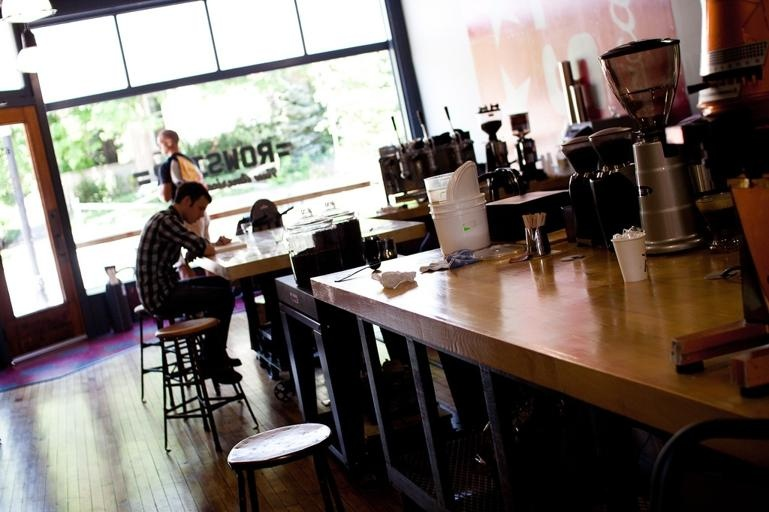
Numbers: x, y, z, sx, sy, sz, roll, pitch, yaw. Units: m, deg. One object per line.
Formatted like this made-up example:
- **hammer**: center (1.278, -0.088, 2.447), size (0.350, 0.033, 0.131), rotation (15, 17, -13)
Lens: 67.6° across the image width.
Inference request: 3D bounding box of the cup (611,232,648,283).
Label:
- **cup**: center (0.691, 0.001, 1.618), size (0.093, 0.133, 0.103), rotation (-12, 5, 1)

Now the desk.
- **desk**: center (-0.602, 0.275, 4.698), size (1.491, 1.409, 1.482), rotation (-3, 7, -19)

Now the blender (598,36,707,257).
- **blender**: center (0.805, -0.326, 1.735), size (0.228, 0.640, 0.159), rotation (-8, 10, 12)

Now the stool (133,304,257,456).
- **stool**: center (-1.447, 0.970, 4.425), size (0.659, 0.916, 0.651), rotation (-14, 21, -28)

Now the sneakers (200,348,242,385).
- **sneakers**: center (-1.314, 0.881, 4.592), size (0.179, 0.217, 0.534), rotation (0, 0, -35)

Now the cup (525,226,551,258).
- **cup**: center (0.564, -0.058, 2.131), size (0.084, 0.107, 0.081), rotation (-10, 10, 2)
